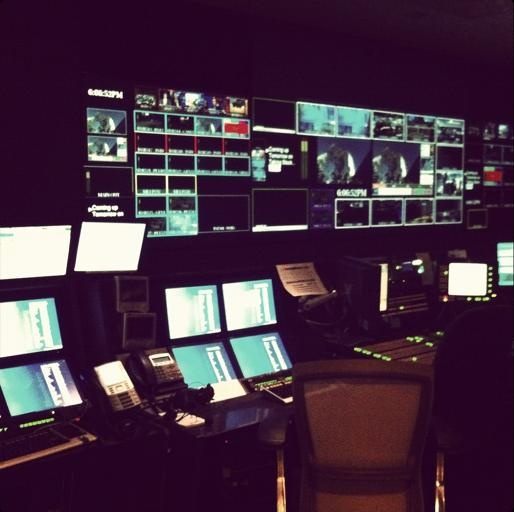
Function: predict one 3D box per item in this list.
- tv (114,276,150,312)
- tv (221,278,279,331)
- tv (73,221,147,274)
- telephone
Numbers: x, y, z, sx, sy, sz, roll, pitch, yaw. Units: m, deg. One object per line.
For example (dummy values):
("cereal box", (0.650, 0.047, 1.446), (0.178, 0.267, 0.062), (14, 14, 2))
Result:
("tv", (-0.618, 0.187, 2.564), (0.148, 0.182, 0.036), (2, -6, -33))
("tv", (-0.055, 0.275, 2.910), (0.240, 0.246, 0.026), (0, -10, -33))
("tv", (-0.710, -0.045, 2.588), (0.299, 0.259, 0.221), (6, 3, -29))
("telephone", (-0.468, 0.526, 2.426), (0.233, 0.154, 0.204), (-6, 12, -23))
